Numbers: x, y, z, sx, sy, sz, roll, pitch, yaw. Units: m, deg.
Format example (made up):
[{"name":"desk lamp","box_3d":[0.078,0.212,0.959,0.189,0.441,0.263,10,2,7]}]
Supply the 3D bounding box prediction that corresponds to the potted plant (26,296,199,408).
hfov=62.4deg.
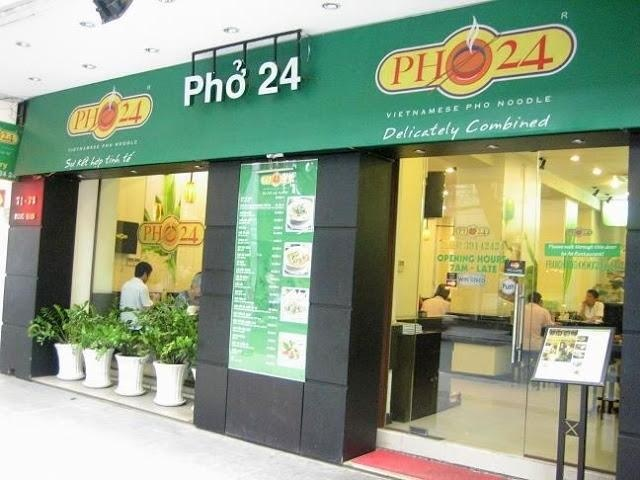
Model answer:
[{"name":"potted plant","box_3d":[-2.396,1.350,6.812,2.830,1.119,0.990,1,0,30]}]

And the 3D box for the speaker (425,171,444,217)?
[{"name":"speaker","box_3d":[1.163,-0.453,5.411,0.196,0.448,0.100,2,0,13]}]
